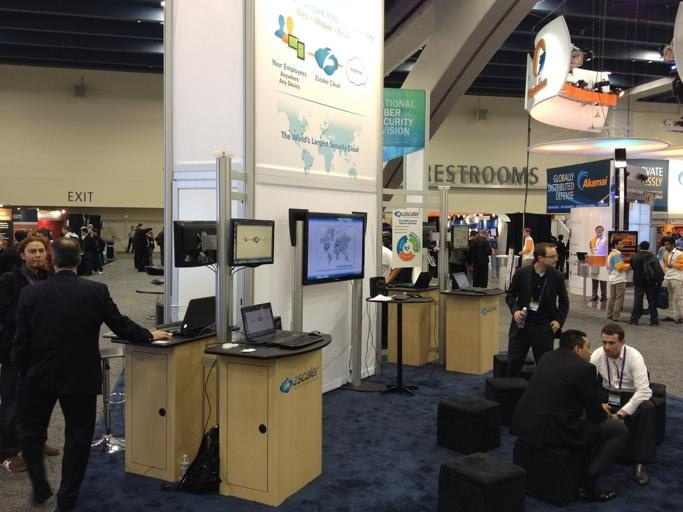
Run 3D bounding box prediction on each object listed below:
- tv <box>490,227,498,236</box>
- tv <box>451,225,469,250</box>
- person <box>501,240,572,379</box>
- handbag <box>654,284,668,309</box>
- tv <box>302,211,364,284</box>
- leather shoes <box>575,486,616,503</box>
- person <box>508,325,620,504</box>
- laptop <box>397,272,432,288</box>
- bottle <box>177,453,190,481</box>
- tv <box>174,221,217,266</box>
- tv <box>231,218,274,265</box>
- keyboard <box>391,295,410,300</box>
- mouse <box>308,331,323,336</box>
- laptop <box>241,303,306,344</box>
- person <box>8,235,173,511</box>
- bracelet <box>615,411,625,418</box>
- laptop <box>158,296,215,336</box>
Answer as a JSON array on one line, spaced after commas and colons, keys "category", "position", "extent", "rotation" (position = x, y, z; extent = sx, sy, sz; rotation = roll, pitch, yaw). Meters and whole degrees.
[{"category": "tv", "position": [4.544, -0.693, 17.872], "extent": [0.047, 0.207, 0.199], "rotation": [6, -1, -36]}, {"category": "tv", "position": [1.673, -0.260, 8.521], "extent": [0.101, 0.315, 0.291], "rotation": [-2, -4, 42]}, {"category": "person", "position": [2.110, 0.799, 6.607], "extent": [0.585, 1.968, 0.604], "rotation": [5, 22, 18]}, {"category": "handbag", "position": [5.862, 0.763, 10.914], "extent": [0.151, 0.387, 0.488], "rotation": [3, 6, 33]}, {"category": "tv", "position": [-0.085, -0.081, 6.717], "extent": [0.093, 0.801, 0.979], "rotation": [4, 4, 43]}, {"category": "leather shoes", "position": [2.080, 1.937, 4.891], "extent": [0.244, 0.115, 0.140], "rotation": [-3, -6, 6]}, {"category": "person", "position": [1.966, 1.313, 5.088], "extent": [0.860, 1.402, 0.770], "rotation": [-14, 15, -34]}, {"category": "laptop", "position": [1.010, 0.337, 7.837], "extent": [0.288, 0.201, 0.291], "rotation": [4, 5, 43]}, {"category": "bottle", "position": [-1.329, 1.786, 5.035], "extent": [0.115, 0.238, 0.268], "rotation": [-2, 6, -16]}, {"category": "tv", "position": [-1.175, -0.080, 5.101], "extent": [0.356, 0.358, 0.129], "rotation": [-1, -16, 12]}, {"category": "tv", "position": [-0.761, -0.098, 5.172], "extent": [0.484, 0.414, 0.054], "rotation": [0, -1, 32]}, {"category": "keyboard", "position": [0.689, 0.482, 6.994], "extent": [0.208, 0.028, 0.393], "rotation": [1, 6, 7]}, {"category": "mouse", "position": [-0.237, 0.705, 5.304], "extent": [0.092, 0.033, 0.071], "rotation": [0, 1, 5]}, {"category": "laptop", "position": [-0.581, 0.561, 5.077], "extent": [0.352, 0.328, 0.520], "rotation": [-4, -1, 21]}, {"category": "person", "position": [-2.082, 0.929, 4.695], "extent": [0.885, 2.119, 0.448], "rotation": [-2, 5, -22]}, {"category": "bracelet", "position": [2.411, 1.388, 5.172], "extent": [0.064, 0.053, 0.076], "rotation": [4, -10, 3]}, {"category": "laptop", "position": [-1.371, 0.518, 5.322], "extent": [0.280, 0.338, 0.441], "rotation": [15, 6, 22]}]
